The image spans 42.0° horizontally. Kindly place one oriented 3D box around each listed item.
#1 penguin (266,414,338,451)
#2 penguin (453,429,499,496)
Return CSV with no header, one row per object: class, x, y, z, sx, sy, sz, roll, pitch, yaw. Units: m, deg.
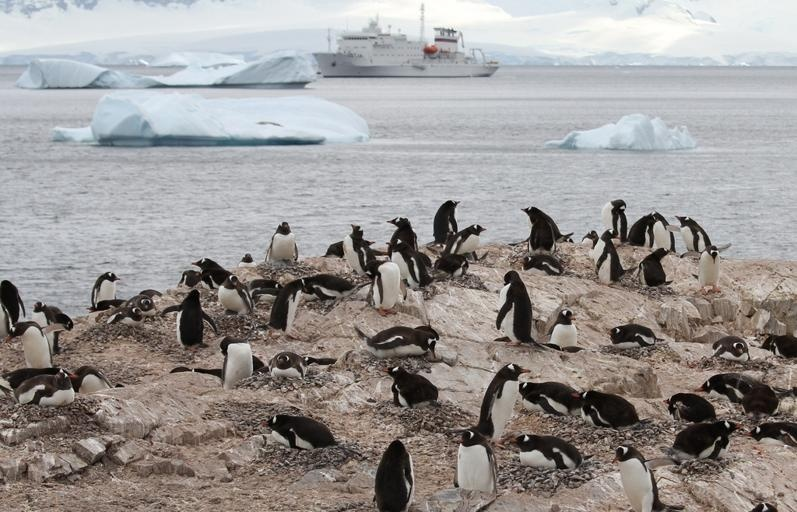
penguin,-1.975,3.599,21.083,1.374,0.649,0.324,1,17,3
penguin,1.457,4.123,20.278,1.106,1.366,0.932,5,-1,-41
